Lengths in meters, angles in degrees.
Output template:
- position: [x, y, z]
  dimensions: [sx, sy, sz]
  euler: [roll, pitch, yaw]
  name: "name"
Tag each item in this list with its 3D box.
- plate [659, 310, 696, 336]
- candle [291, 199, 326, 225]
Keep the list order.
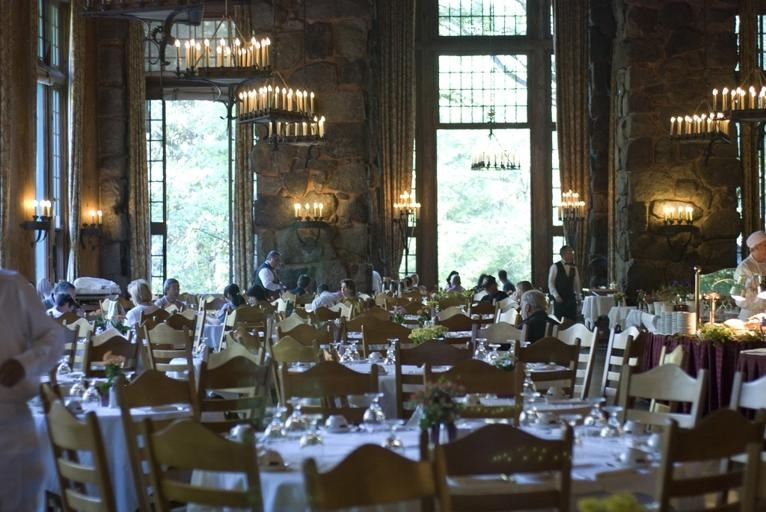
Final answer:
- position: [3.539, 0.813, 11.110]
  dimensions: [0.283, 0.197, 0.295]
  euler: [2, -2, -13]
  name: "plate"
- position: [-1.272, -0.746, 16.304]
  dimensions: [0.554, 0.391, 0.269]
  euler: [-1, 0, -7]
  name: "candle"
